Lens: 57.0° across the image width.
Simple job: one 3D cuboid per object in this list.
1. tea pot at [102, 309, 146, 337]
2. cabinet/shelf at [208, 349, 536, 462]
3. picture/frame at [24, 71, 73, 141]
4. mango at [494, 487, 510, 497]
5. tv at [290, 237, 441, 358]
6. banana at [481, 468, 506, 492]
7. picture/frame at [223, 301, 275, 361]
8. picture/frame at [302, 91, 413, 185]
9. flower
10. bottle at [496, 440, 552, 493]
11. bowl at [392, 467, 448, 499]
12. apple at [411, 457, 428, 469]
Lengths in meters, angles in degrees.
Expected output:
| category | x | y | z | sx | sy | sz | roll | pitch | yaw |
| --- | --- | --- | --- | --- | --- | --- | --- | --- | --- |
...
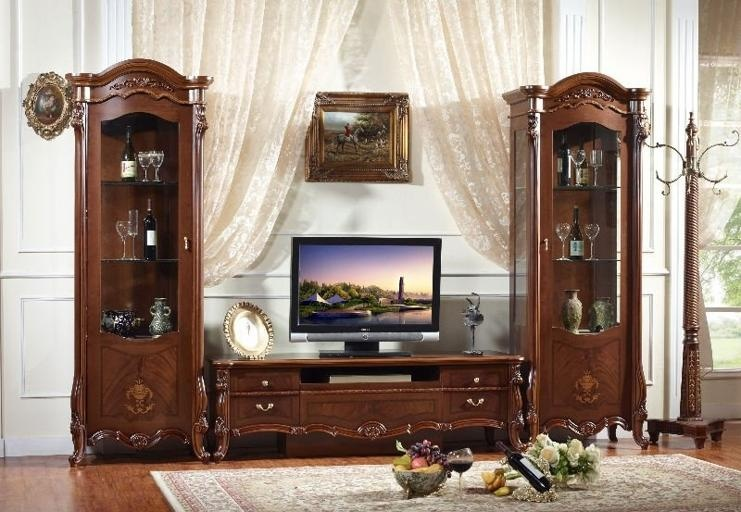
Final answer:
| category | x | y | z | sx | sy | sz | roll | pitch | yaw |
| --- | --- | --- | --- | --- | --- | --- | --- | --- | --- |
| tea pot | -1.846 | 0.496 | 5.065 | 0.235 | 0.128 | 0.193 | 2 | -3 | 17 |
| cabinet/shelf | -0.014 | 1.139 | 5.394 | 2.306 | 0.680 | 0.644 | -1 | -4 | 0 |
| picture/frame | -2.533 | -1.187 | 5.337 | 0.513 | 0.597 | 0.054 | -3 | -1 | -5 |
| mango | 0.807 | 1.448 | 4.212 | 0.086 | 0.028 | 0.046 | -12 | 26 | -23 |
| tv | -0.040 | 0.271 | 5.469 | 1.212 | 0.840 | 0.077 | -1 | -2 | -8 |
| banana | 0.771 | 1.406 | 4.301 | 0.126 | 0.135 | 0.146 | 4 | -22 | -40 |
| picture/frame | -0.963 | 0.578 | 5.324 | 0.394 | 0.412 | 0.097 | -33 | 12 | -37 |
| picture/frame | -0.152 | -0.985 | 5.687 | 0.793 | 0.669 | 0.062 | 0 | -1 | -5 |
| flower | 1.227 | 1.283 | 4.263 | 0.367 | 0.239 | 0.356 | -2 | -3 | 11 |
| bottle | 0.899 | 1.259 | 4.057 | 0.282 | 0.350 | 0.325 | -2 | -2 | 11 |
| bowl | 0.292 | 1.364 | 4.101 | 0.227 | 0.112 | 0.228 | -1 | -4 | 0 |
| apple | 0.285 | 1.228 | 4.069 | 0.080 | 0.044 | 0.059 | 0 | 4 | -45 |
